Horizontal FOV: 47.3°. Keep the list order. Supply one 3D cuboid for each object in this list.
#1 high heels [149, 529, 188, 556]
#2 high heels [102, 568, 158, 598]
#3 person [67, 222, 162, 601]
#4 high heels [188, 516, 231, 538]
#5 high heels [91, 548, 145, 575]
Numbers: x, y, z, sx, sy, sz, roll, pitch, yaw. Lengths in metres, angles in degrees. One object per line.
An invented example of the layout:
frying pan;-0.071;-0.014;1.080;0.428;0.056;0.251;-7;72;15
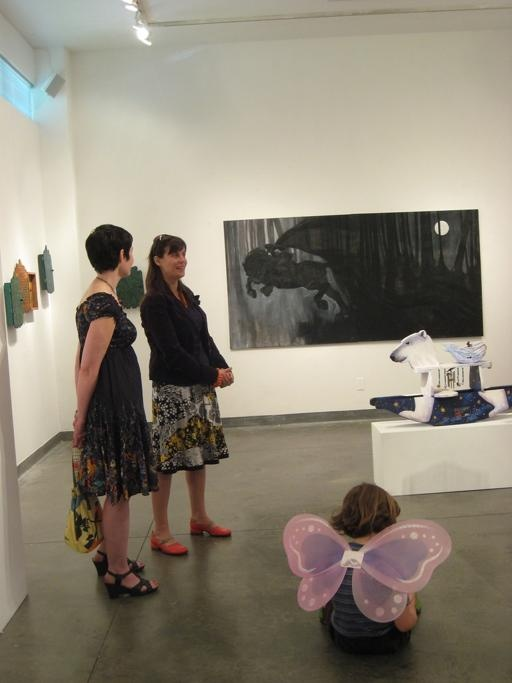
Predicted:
high heels;-0.407;0.947;2.778;0.168;0.077;0.079;1;-1;36
high heels;-0.508;0.970;2.386;0.187;0.114;0.103;-2;2;-10
person;-0.555;0.292;2.249;0.304;1.163;0.290;-3;2;-13
high heels;-0.239;0.949;3.012;0.220;0.095;0.087;0;-5;15
high heels;-0.571;0.959;2.570;0.274;0.110;0.101;-1;2;-11
